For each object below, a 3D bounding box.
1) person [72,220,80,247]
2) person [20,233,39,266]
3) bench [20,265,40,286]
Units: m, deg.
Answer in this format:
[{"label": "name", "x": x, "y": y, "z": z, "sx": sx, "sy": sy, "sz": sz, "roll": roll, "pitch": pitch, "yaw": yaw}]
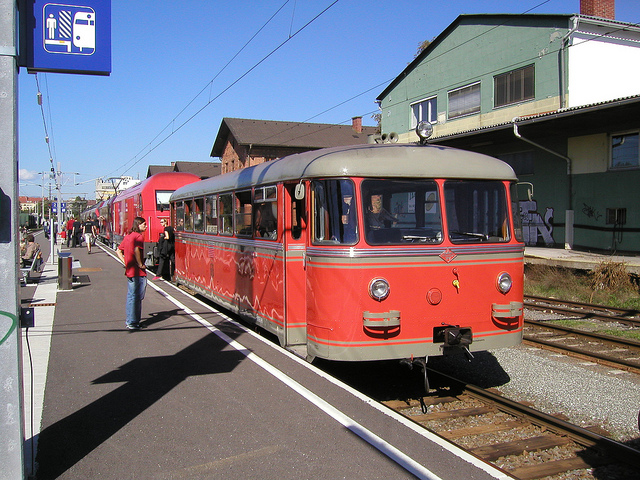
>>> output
[{"label": "person", "x": -16.880, "y": -0.500, "z": 34.686, "sx": 0.426, "sy": 1.662, "sz": 1.494, "roll": -1, "pitch": 6, "yaw": -28}, {"label": "person", "x": -10.180, "y": 0.427, "z": 17.552, "sx": 0.510, "sy": 1.151, "sz": 1.083, "roll": -2, "pitch": 7, "yaw": -32}, {"label": "bench", "x": -9.938, "y": 1.144, "z": 17.156, "sx": 0.505, "sy": 0.845, "sz": 2.820, "roll": -1, "pitch": 7, "yaw": -30}]
